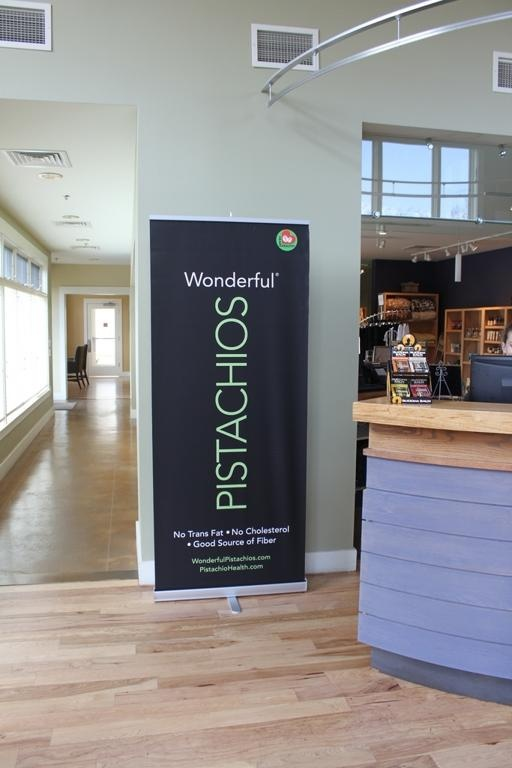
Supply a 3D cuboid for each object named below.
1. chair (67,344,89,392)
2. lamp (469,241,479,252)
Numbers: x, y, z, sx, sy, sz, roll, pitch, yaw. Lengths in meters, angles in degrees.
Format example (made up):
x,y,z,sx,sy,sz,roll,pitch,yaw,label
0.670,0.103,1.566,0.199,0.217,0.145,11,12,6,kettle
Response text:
x,y,z,sx,sy,sz,roll,pitch,yaw,label
-4.549,-0.451,14.835,0.516,1.081,1.815,0,3,-17,chair
1.418,-0.887,3.793,0.050,0.080,0.088,-1,-1,17,lamp
